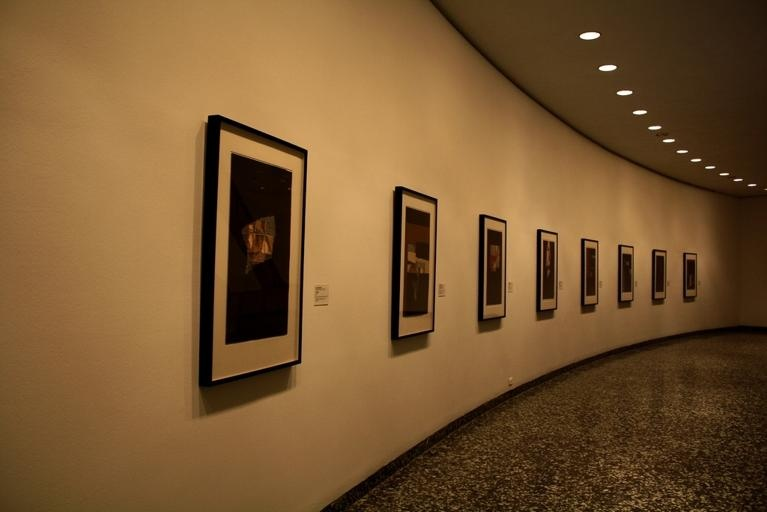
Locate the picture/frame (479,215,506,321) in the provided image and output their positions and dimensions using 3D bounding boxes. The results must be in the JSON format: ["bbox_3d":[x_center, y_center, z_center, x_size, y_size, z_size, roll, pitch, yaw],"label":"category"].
[{"bbox_3d":[1.581,0.174,8.344,0.101,1.472,0.964,0,-3,29],"label":"picture/frame"}]
